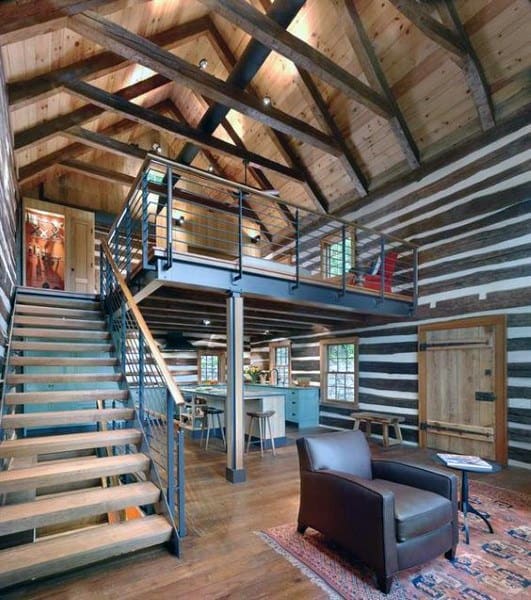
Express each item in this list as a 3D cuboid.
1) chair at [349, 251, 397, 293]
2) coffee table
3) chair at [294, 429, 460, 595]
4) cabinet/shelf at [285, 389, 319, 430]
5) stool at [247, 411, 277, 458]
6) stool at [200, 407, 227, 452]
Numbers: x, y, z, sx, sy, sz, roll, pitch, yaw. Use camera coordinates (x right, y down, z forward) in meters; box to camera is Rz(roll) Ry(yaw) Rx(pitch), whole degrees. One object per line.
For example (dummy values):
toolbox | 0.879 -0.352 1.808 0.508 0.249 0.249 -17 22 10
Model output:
chair | 1.727 -0.400 7.498 0.574 0.562 0.503 -12 15 -17
coffee table | 1.657 1.597 3.935 0.575 0.538 0.534 0 -7 30
chair | 0.871 1.503 3.671 0.903 0.826 1.093 4 -9 -30
cabinet/shelf | 0.611 1.987 9.019 0.505 0.666 0.800 5 -10 -34
stool | -0.059 1.805 6.678 0.422 0.674 1.080 0 -1 0
stool | -0.853 1.895 7.497 0.286 0.454 0.287 5 2 -17
